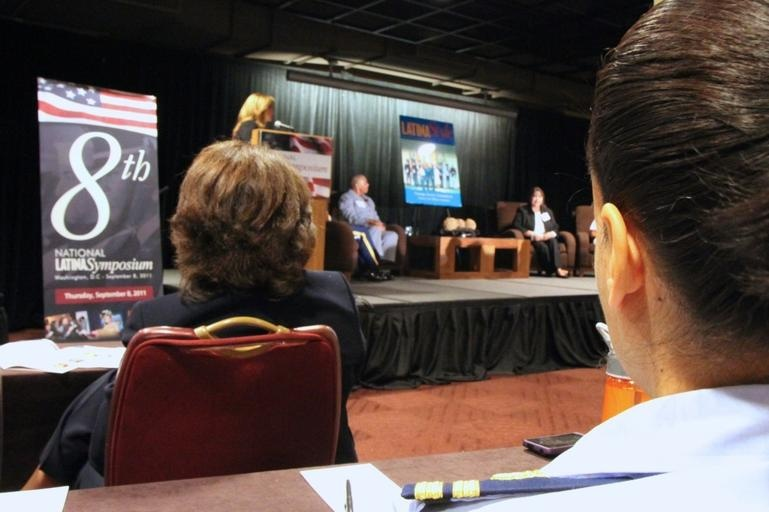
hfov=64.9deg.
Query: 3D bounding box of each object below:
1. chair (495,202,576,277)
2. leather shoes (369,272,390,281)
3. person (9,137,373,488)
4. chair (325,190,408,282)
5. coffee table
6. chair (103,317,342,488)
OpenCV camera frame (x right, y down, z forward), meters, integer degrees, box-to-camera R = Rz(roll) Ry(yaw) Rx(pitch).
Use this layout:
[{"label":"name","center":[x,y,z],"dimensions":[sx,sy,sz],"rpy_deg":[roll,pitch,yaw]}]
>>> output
[{"label":"chair","center":[1.986,-0.287,7.658],"dimensions":[0.817,1.049,1.058],"rpy_deg":[1,-3,-19]},{"label":"leather shoes","center":[-0.043,0.211,6.126],"dimensions":[0.242,0.078,0.093],"rpy_deg":[-3,-29,12]},{"label":"person","center":[-0.373,0.118,1.464],"dimensions":[0.626,0.787,0.725],"rpy_deg":[1,-7,-27]},{"label":"chair","center":[-0.200,-0.319,6.700],"dimensions":[0.855,1.105,0.686],"rpy_deg":[-2,10,-35]},{"label":"coffee table","center":[0.910,0.074,7.042],"dimensions":[1.297,0.452,1.276],"rpy_deg":[0,-3,-12]},{"label":"chair","center":[-0.262,0.189,1.070],"dimensions":[0.261,0.366,0.297],"rpy_deg":[-1,14,-17]}]
